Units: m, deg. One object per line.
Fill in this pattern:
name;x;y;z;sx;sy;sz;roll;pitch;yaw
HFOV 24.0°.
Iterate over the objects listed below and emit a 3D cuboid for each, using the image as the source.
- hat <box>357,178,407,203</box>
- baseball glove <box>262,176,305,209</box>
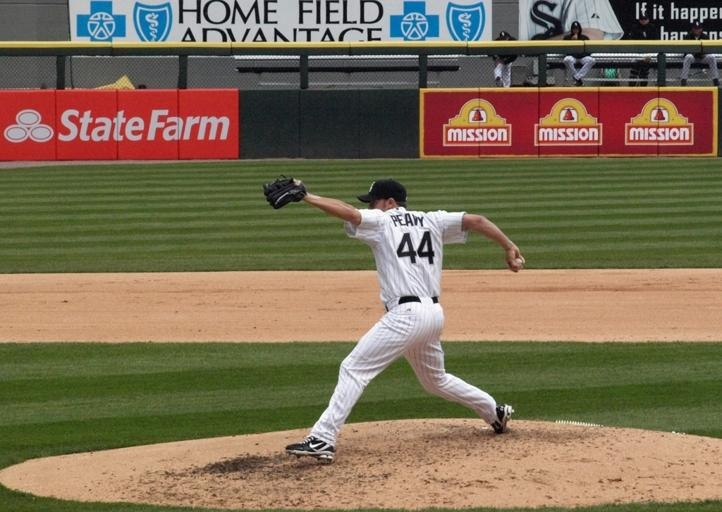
hat;0.349;-1.026;26.851;0.657;0.319;0.376;5;8;3
baseball glove;-1.222;-1.041;26.606;0.563;0.516;0.243;-18;26;-4
